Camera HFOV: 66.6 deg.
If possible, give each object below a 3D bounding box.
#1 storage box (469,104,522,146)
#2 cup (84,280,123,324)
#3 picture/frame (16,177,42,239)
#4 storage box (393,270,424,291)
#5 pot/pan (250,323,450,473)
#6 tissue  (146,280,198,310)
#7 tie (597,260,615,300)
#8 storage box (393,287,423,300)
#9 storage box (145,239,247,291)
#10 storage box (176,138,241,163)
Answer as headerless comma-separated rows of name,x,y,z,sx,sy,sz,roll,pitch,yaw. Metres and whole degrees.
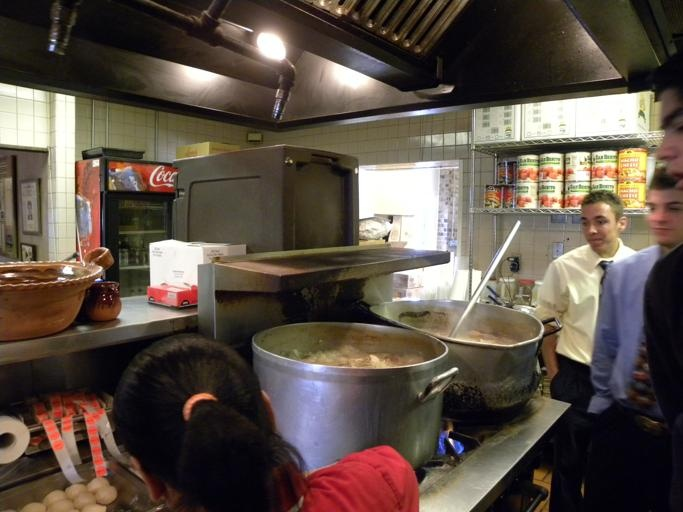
storage box,1.151,-1.050,3.915,0.346,0.318,0.213,-1,42,17
cup,-0.728,0.136,1.581,0.113,0.111,0.111,0,2,0
picture/frame,-3.032,-0.493,5.087,0.632,0.584,0.047,1,1,40
storage box,0.475,0.155,3.674,0.144,0.168,0.268,0,1,29
pot/pan,0.067,0.402,1.617,0.550,0.287,0.520,0,12,2
tissue ,-0.572,0.130,1.774,0.274,0.072,0.079,3,8,32
tie,1.253,0.113,2.468,0.154,0.192,0.044,3,8,-37
storage box,0.458,0.257,3.665,0.171,0.092,0.165,-1,-7,15
storage box,-0.552,0.036,1.857,0.211,0.113,0.109,13,11,21
storage box,-1.277,-1.027,4.921,0.508,0.213,1.164,-3,7,-17
